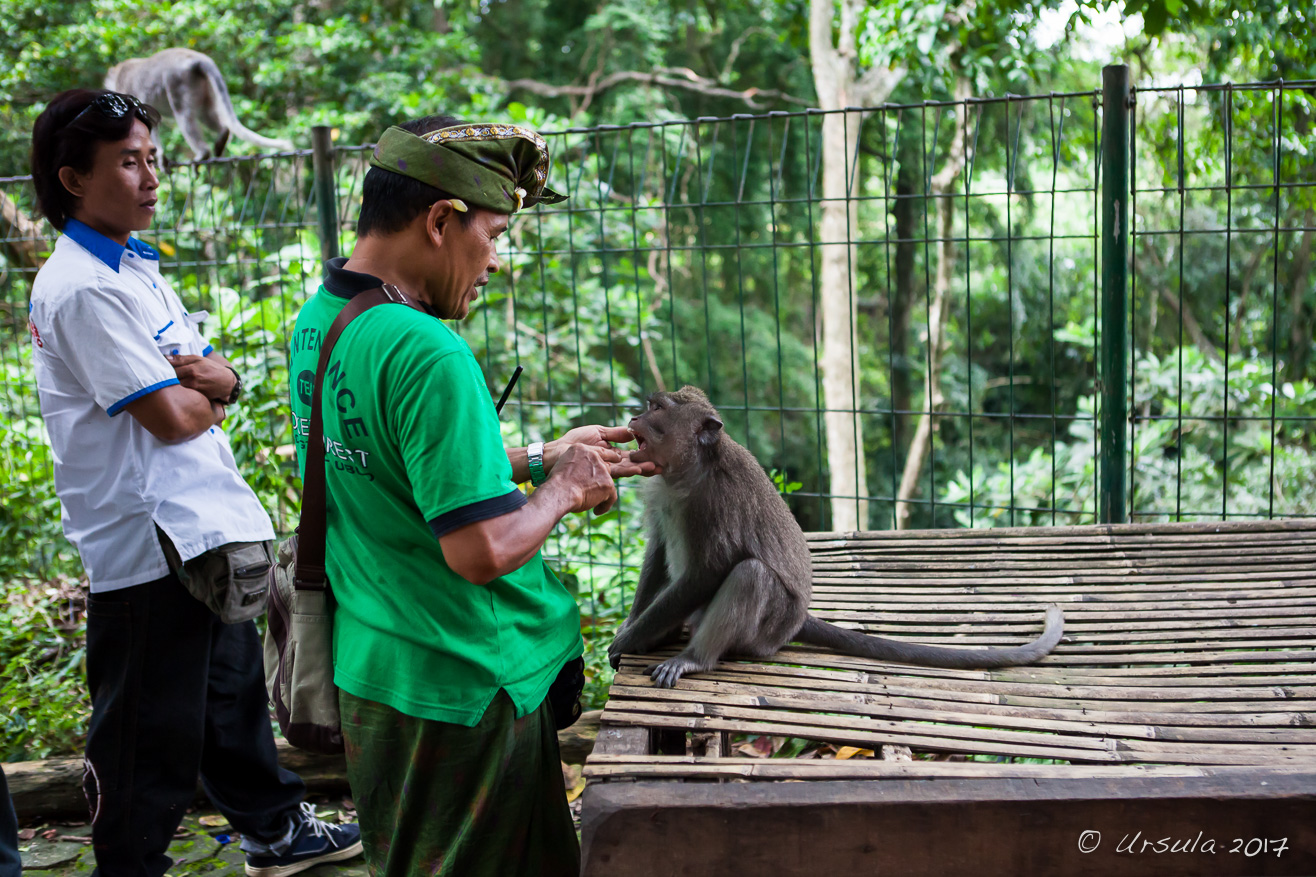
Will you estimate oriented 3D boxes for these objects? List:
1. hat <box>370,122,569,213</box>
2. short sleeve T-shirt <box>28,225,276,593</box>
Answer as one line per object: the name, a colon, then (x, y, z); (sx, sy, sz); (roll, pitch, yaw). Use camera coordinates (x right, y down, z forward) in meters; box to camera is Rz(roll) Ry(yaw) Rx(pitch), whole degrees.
hat: (-0.760, -1.129, 5.952); (0.520, 0.233, 0.412); (16, 8, -10)
short sleeve T-shirt: (-2.364, -0.088, 6.870); (1.118, 1.868, 1.181); (-7, 6, -26)
